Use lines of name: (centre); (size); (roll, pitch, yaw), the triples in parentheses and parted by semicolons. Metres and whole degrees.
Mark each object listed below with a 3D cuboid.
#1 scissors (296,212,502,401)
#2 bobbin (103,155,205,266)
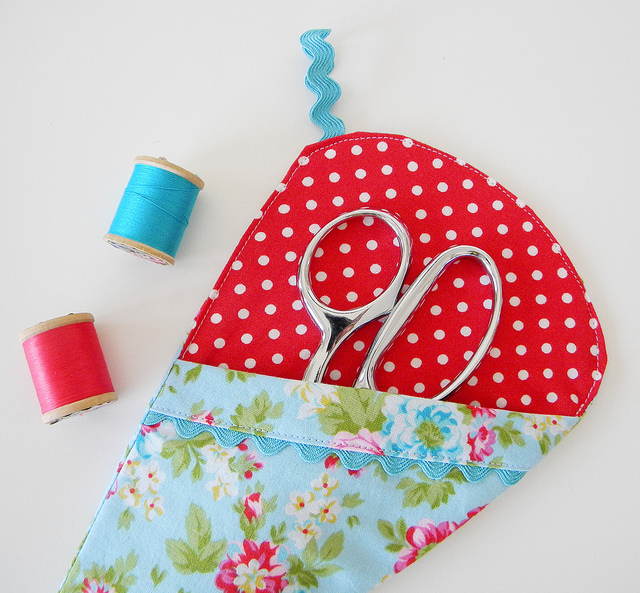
scissors: (0.129, 0.022, 1.404); (0.354, 0.246, 0.263); (15, -61, -11)
bobbin: (-0.309, -0.155, 1.471); (0.139, 0.129, 0.167); (21, -102, -31)
